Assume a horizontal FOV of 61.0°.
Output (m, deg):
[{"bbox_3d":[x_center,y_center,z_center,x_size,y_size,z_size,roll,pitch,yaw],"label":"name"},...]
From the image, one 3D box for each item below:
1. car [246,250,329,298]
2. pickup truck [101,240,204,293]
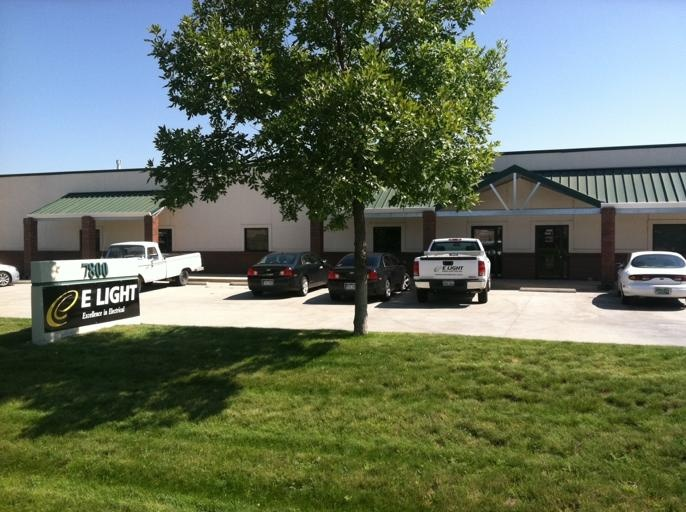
[{"bbox_3d":[-1.739,0.621,20.818,1.227,0.981,2.992,0,5,18],"label":"car"},{"bbox_3d":[-7.636,0.312,23.285,2.119,1.509,4.374,-2,-3,21],"label":"pickup truck"}]
